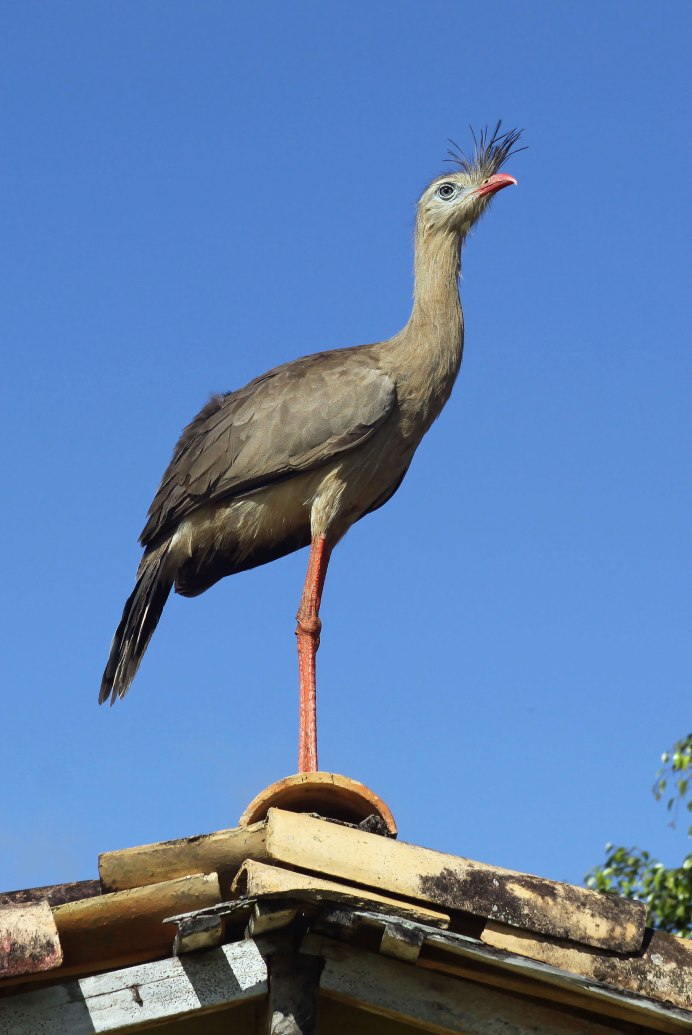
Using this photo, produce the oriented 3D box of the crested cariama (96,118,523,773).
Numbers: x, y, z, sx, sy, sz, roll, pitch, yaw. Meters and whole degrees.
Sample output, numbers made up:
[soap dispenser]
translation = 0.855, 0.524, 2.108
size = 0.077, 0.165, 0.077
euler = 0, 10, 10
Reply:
[crested cariama]
translation = -0.191, -0.366, 9.042
size = 1.762, 3.288, 0.904
euler = -13, -28, 31
